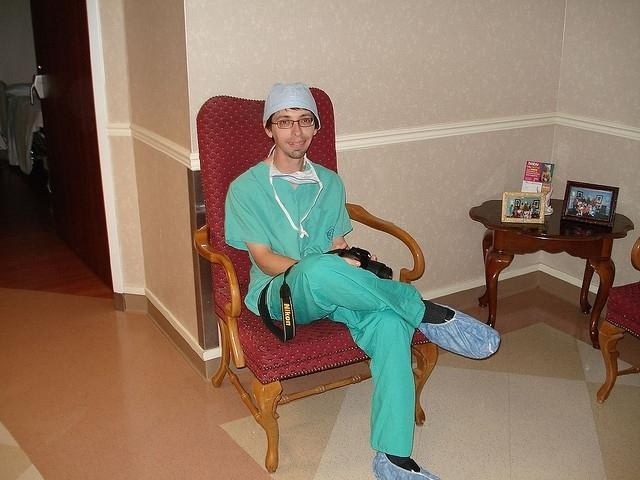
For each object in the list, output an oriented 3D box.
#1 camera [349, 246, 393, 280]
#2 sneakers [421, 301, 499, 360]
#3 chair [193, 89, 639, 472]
[{"bbox_3d":[0.241,0.097,2.113,0.181,0.129,0.190,19,29,41],"label":"camera"},{"bbox_3d":[0.629,0.445,2.218,0.368,0.223,0.124,25,-10,1],"label":"sneakers"},{"bbox_3d":[0.350,-0.147,2.918,1.538,2.586,1.597,-10,23,-25],"label":"chair"}]
